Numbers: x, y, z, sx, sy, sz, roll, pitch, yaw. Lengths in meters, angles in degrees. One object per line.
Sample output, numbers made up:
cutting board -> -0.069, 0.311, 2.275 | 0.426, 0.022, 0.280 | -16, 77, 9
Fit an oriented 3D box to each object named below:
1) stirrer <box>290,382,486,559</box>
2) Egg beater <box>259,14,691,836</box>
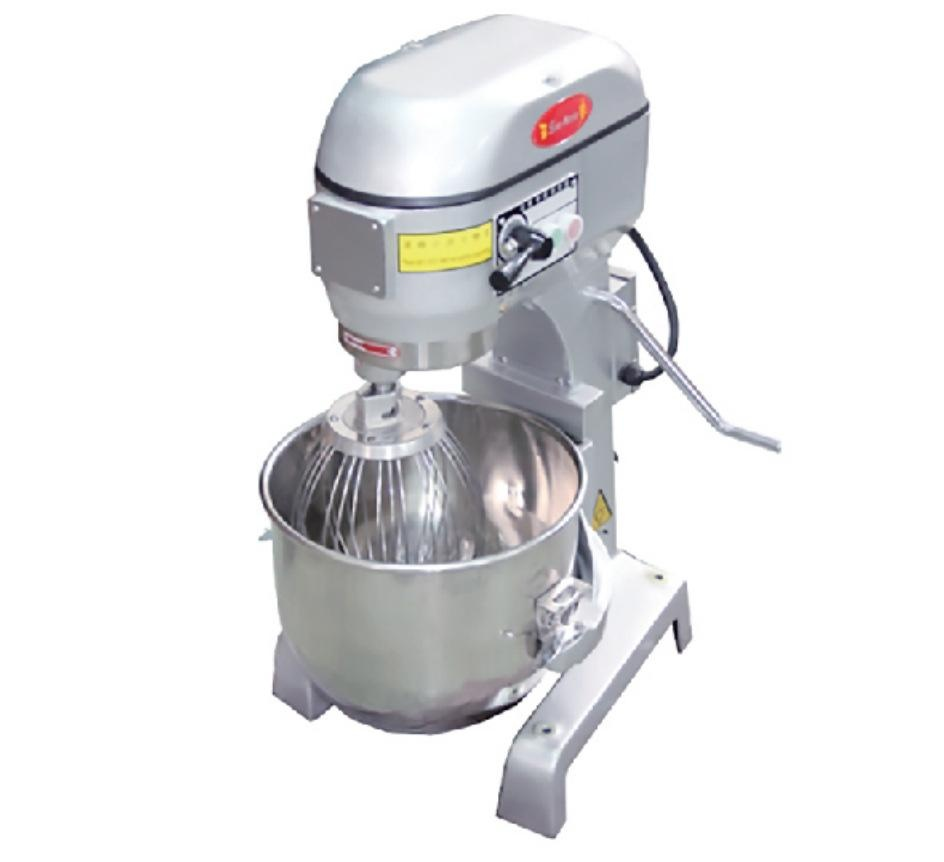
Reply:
stirrer -> -0.175, 0.092, 2.306 | 0.273, 0.436, 0.312 | -26, 36, -36
Egg beater -> 0.031, -0.007, 2.190 | 0.897, 1.531, 0.731 | -22, 33, -34
